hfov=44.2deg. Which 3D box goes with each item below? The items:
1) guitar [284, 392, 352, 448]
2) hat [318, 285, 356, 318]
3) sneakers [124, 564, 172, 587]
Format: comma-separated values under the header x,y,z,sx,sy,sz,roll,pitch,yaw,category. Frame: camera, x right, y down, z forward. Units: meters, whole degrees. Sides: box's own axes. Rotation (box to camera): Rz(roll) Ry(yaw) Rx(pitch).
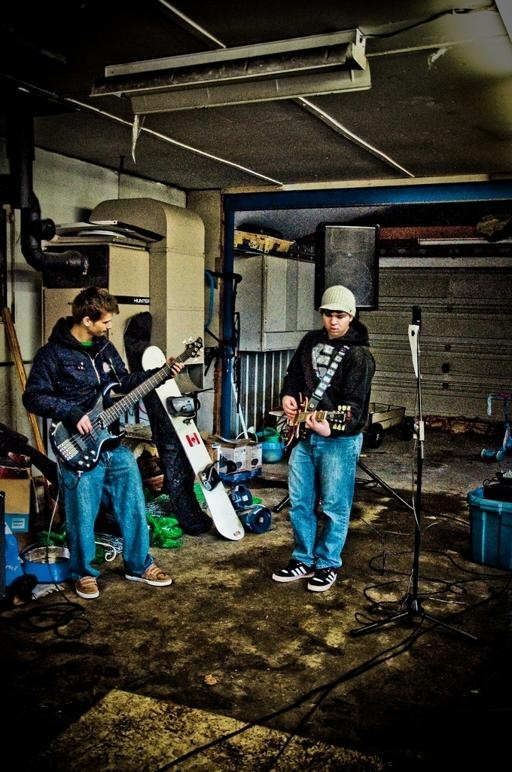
x,y,z,sx,sy,sz,roll,pitch,yaw,category
0.307,0.223,3.451,0.188,0.289,0.450,-2,6,-33,guitar
0.432,-0.470,3.429,0.139,0.116,0.194,6,5,24,hat
-0.610,1.083,3.625,0.260,0.106,0.104,0,-3,24,sneakers
